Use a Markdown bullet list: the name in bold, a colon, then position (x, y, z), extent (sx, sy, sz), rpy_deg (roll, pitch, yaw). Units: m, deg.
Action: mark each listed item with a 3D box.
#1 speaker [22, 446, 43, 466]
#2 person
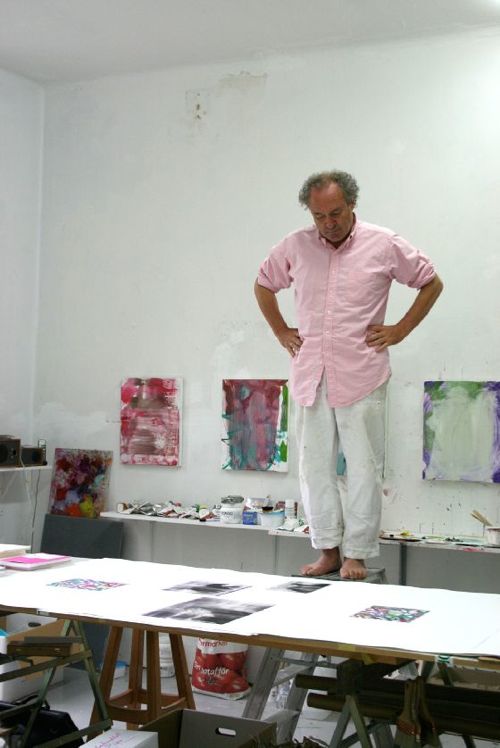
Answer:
- **speaker**: position (-1.360, 0.508, 4.271), extent (0.109, 0.121, 0.190), rpy_deg (1, 2, -14)
- **person**: position (0.349, 0.013, 2.636), extent (0.752, 1.488, 0.550), rpy_deg (-2, -9, 16)
